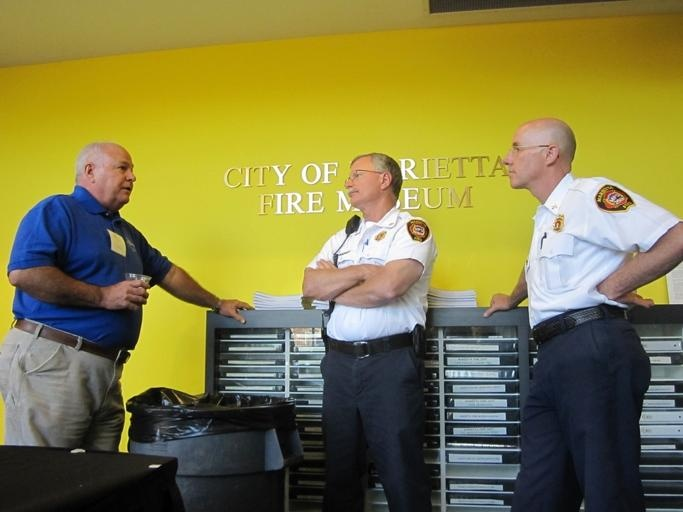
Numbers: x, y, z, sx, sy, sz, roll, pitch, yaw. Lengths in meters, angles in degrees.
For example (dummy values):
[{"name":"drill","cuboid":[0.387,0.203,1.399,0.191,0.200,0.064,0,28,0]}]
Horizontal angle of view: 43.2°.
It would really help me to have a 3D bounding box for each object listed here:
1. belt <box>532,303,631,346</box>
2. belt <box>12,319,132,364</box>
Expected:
[{"name":"belt","cuboid":[1.012,0.311,3.883,0.359,0.078,0.315,-12,-14,-31]},{"name":"belt","cuboid":[-1.241,0.388,3.974,0.310,0.072,0.270,18,-7,-1]}]
